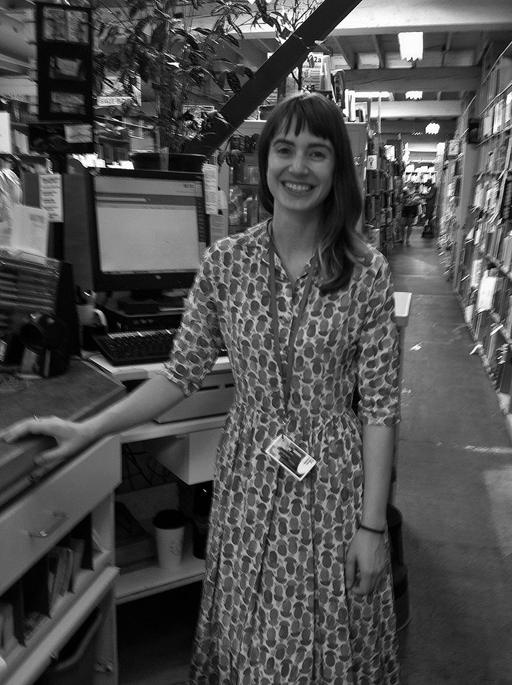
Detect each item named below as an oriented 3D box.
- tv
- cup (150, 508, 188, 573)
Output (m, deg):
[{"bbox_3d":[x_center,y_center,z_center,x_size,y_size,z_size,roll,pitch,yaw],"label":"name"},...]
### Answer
[{"bbox_3d":[-0.339,-0.305,1.433,0.153,0.490,0.456,4,7,44],"label":"tv"},{"bbox_3d":[-0.283,0.648,1.539,0.116,0.175,0.122,1,0,0],"label":"cup"}]
